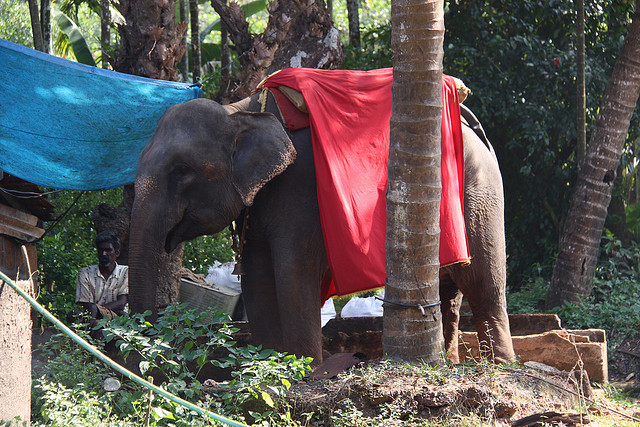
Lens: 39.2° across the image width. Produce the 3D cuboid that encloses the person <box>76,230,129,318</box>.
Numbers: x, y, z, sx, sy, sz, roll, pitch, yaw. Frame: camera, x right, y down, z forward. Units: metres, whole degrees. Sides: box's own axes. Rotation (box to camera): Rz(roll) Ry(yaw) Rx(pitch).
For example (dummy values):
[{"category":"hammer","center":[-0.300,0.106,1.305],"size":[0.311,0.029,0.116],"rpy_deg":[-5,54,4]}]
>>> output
[{"category":"person","center":[-2.865,0.803,11.788],"size":[0.646,1.077,0.578],"rpy_deg":[1,5,-16]}]

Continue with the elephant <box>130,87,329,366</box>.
[{"category":"elephant","center":[-0.579,0.382,10.627],"size":[3.663,3.151,1.657],"rpy_deg":[2,-10,-36]}]
